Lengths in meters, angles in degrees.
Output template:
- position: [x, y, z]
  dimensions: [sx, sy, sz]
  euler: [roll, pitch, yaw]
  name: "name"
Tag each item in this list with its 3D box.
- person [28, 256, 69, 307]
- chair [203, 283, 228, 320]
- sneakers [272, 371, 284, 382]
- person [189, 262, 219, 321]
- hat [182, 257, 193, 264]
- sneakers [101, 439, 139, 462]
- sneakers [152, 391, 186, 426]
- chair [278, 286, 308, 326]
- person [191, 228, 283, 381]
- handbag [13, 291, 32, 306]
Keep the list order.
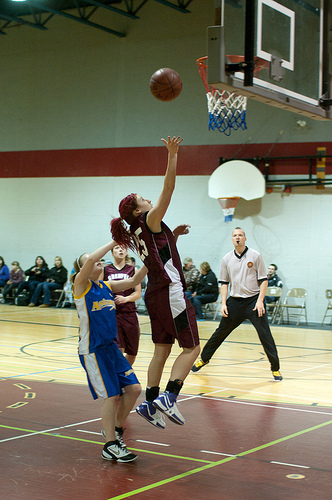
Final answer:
- position: [-3.390, 0.909, 12.776]
  dimensions: [1.016, 1.449, 0.561]
  euler: [1, -6, -1]
  name: "person"
- position: [1.170, 1.338, 11.231]
  dimensions: [0.626, 0.922, 0.687]
  euler: [2, -4, 14]
  name: "chair"
- position: [1.261, 1.413, 5.031]
  dimensions: [0.086, 0.071, 0.156]
  euler: [2, 36, -3]
  name: "sneakers"
- position: [0.923, 1.009, 10.948]
  dimensions: [0.753, 1.321, 0.595]
  euler: [1, -4, 2]
  name: "person"
- position: [0.560, 0.271, 11.304]
  dimensions: [0.192, 0.179, 0.151]
  euler: [18, -18, -35]
  name: "hat"
- position: [-0.252, 1.065, 2.376]
  dimensions: [0.245, 0.119, 0.079]
  euler: [7, -2, 3]
  name: "sneakers"
- position: [0.036, 0.834, 2.335]
  dimensions: [0.071, 0.209, 0.137]
  euler: [-31, 16, 46]
  name: "sneakers"
- position: [3.094, 1.344, 10.743]
  dimensions: [0.767, 0.828, 0.640]
  euler: [3, -3, -24]
  name: "chair"
- position: [0.855, 0.575, 5.178]
  dimensions: [0.556, 1.813, 0.840]
  euler: [7, -9, -43]
  name: "person"
- position: [-4.175, 1.408, 12.864]
  dimensions: [0.425, 0.299, 0.215]
  euler: [1, -15, 4]
  name: "handbag"
